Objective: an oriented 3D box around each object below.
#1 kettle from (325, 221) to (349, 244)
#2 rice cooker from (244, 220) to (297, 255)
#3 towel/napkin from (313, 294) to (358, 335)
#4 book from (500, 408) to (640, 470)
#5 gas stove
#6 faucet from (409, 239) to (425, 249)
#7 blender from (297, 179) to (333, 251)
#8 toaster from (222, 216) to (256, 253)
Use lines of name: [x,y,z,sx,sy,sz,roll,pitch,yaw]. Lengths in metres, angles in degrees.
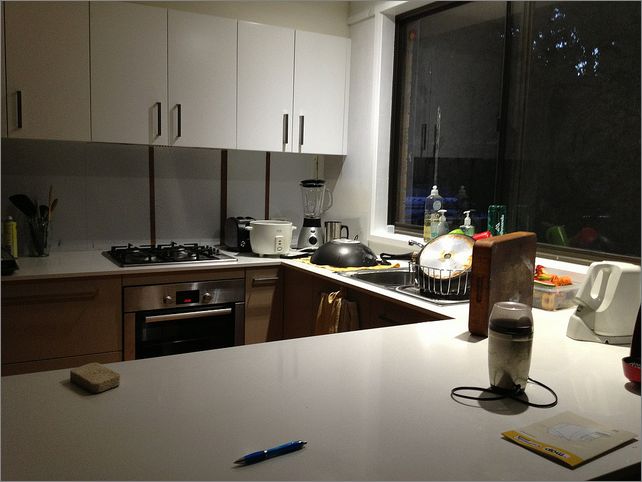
kettle: [0.122,-0.073,3.620,0.185,0.204,0.116,1,1,-12]
rice cooker: [-0.358,-0.017,3.404,0.335,0.246,0.358,0,7,-16]
towel/napkin: [0.072,0.399,2.604,0.098,0.271,0.300,-5,10,-39]
book: [0.575,0.457,1.128,0.288,0.026,0.147,-2,10,-26]
gas stove: [-0.982,0.071,3.176,0.780,0.077,0.576,-3,10,-28]
faucet: [0.553,0.036,2.781,0.059,0.036,0.094,20,3,39]
blender: [-0.038,-0.188,3.630,0.259,0.506,0.217,0,5,-5]
toaster: [-0.592,-0.054,3.538,0.151,0.243,0.253,-4,7,-33]
